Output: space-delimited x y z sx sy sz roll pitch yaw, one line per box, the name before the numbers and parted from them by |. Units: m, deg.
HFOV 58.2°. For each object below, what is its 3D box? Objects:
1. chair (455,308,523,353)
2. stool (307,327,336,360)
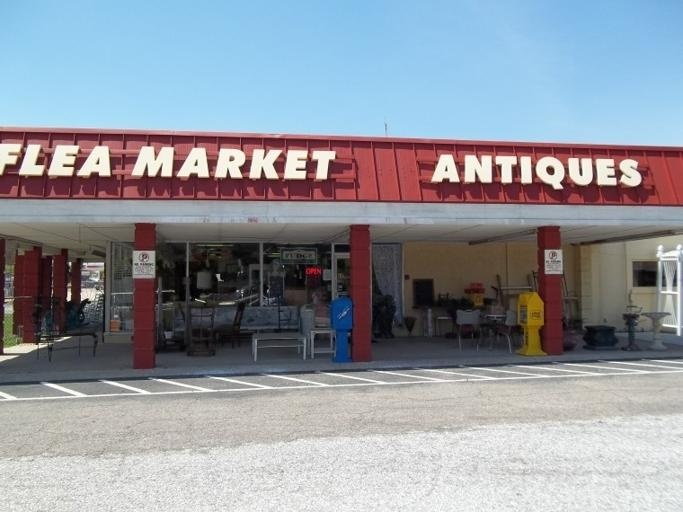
chair | 4.184 2.075 17.835 1.658 0.738 1.528 -1 -1 -5
stool | -0.515 2.447 17.300 0.904 0.735 0.829 1 -11 -6
